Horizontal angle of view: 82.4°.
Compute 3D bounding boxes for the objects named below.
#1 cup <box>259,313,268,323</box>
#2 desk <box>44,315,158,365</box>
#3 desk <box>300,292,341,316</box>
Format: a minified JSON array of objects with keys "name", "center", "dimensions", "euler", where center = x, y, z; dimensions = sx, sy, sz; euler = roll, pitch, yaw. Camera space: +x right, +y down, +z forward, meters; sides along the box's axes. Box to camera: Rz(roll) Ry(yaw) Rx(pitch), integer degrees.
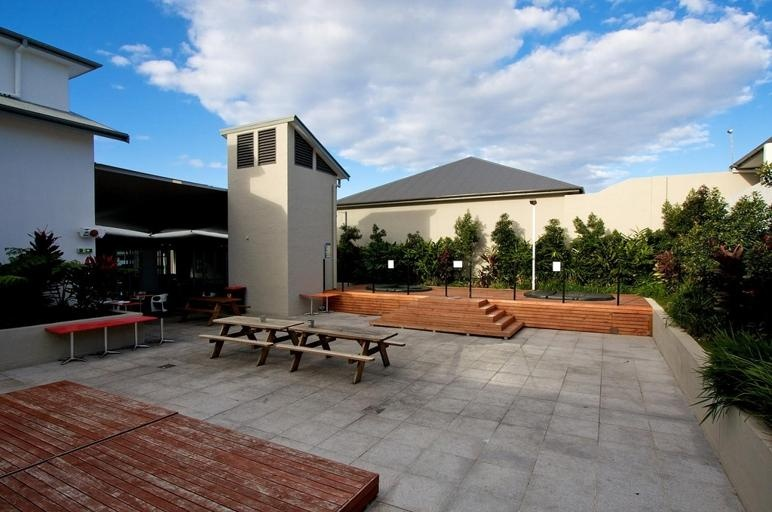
[{"name":"cup","center":[-3.553,1.745,12.406],"dimensions":[0.285,0.291,0.291],"euler":[0,1,0]},{"name":"desk","center":[-8.447,2.353,12.860],"dimensions":[2.304,1.173,1.186],"euler":[-12,18,-42]},{"name":"desk","center":[-2.784,1.915,18.613],"dimensions":[0.930,1.013,1.595],"euler":[11,17,36]}]
